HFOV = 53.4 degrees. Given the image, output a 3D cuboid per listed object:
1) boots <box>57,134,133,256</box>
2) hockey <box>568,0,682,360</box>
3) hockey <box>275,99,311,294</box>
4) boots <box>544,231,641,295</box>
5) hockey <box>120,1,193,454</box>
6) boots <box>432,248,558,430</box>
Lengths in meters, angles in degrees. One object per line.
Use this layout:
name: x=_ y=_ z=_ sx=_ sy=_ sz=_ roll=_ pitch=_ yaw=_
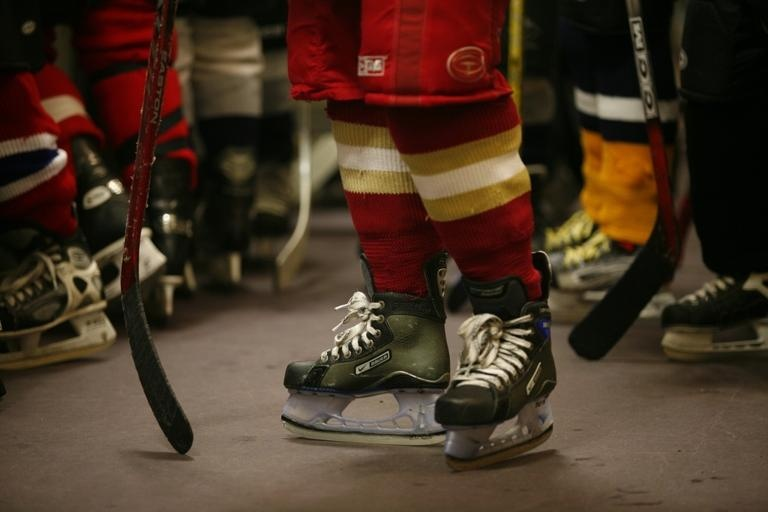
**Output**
boots: x=-0.666 y=-0.142 z=1.783 sx=0.104 sy=0.125 sz=0.318 roll=-11 pitch=65 yaw=-16
hockey: x=0.530 y=-0.175 z=1.650 sx=0.225 sy=0.988 sz=0.126 roll=-23 pitch=42 yaw=-1
hockey: x=-0.309 y=-0.208 z=2.606 sx=0.105 sy=0.053 sz=0.726 roll=8 pitch=59 yaw=-39
boots: x=0.572 y=0.022 z=2.110 sx=0.399 sy=0.164 sz=0.132 roll=0 pitch=18 yaw=-26
hockey: x=-0.372 y=-0.039 z=1.232 sx=0.128 sy=0.720 sz=0.183 roll=-4 pitch=13 yaw=-10
boots: x=0.179 y=0.145 z=1.213 sx=0.110 sy=0.223 sz=0.199 roll=9 pitch=16 yaw=38
